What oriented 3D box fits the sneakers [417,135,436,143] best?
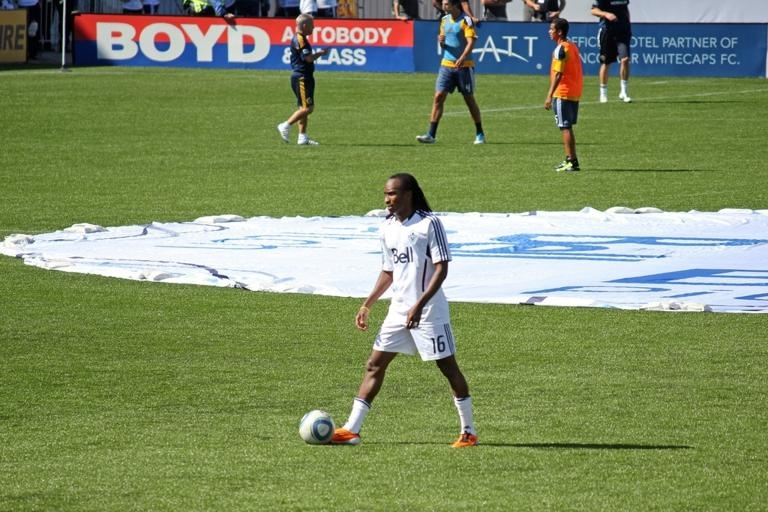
[{"bbox_3d":[0.841,-2.253,35.596,0.387,0.166,0.137,8,3,-8],"label":"sneakers"}]

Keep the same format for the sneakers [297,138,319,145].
[{"bbox_3d":[-1.459,-2.187,35.692,0.420,0.169,0.141,-3,15,-4],"label":"sneakers"}]

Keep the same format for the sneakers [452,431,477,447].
[{"bbox_3d":[1.026,2.327,23.039,0.293,0.118,0.157,2,-6,-34],"label":"sneakers"}]

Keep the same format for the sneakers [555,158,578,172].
[{"bbox_3d":[3.354,-1.611,33.052,0.479,0.210,0.176,0,5,17],"label":"sneakers"}]

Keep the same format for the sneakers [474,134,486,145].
[{"bbox_3d":[1.919,-2.266,36.085,0.152,0.227,0.233,1,4,8],"label":"sneakers"}]

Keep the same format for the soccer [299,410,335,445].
[{"bbox_3d":[-0.821,2.151,23.024,0.430,0.412,0.415,2,-2,-33],"label":"soccer"}]

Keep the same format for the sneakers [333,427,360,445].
[{"bbox_3d":[-0.461,2.293,23.105,0.306,0.129,0.167,0,7,-5],"label":"sneakers"}]
